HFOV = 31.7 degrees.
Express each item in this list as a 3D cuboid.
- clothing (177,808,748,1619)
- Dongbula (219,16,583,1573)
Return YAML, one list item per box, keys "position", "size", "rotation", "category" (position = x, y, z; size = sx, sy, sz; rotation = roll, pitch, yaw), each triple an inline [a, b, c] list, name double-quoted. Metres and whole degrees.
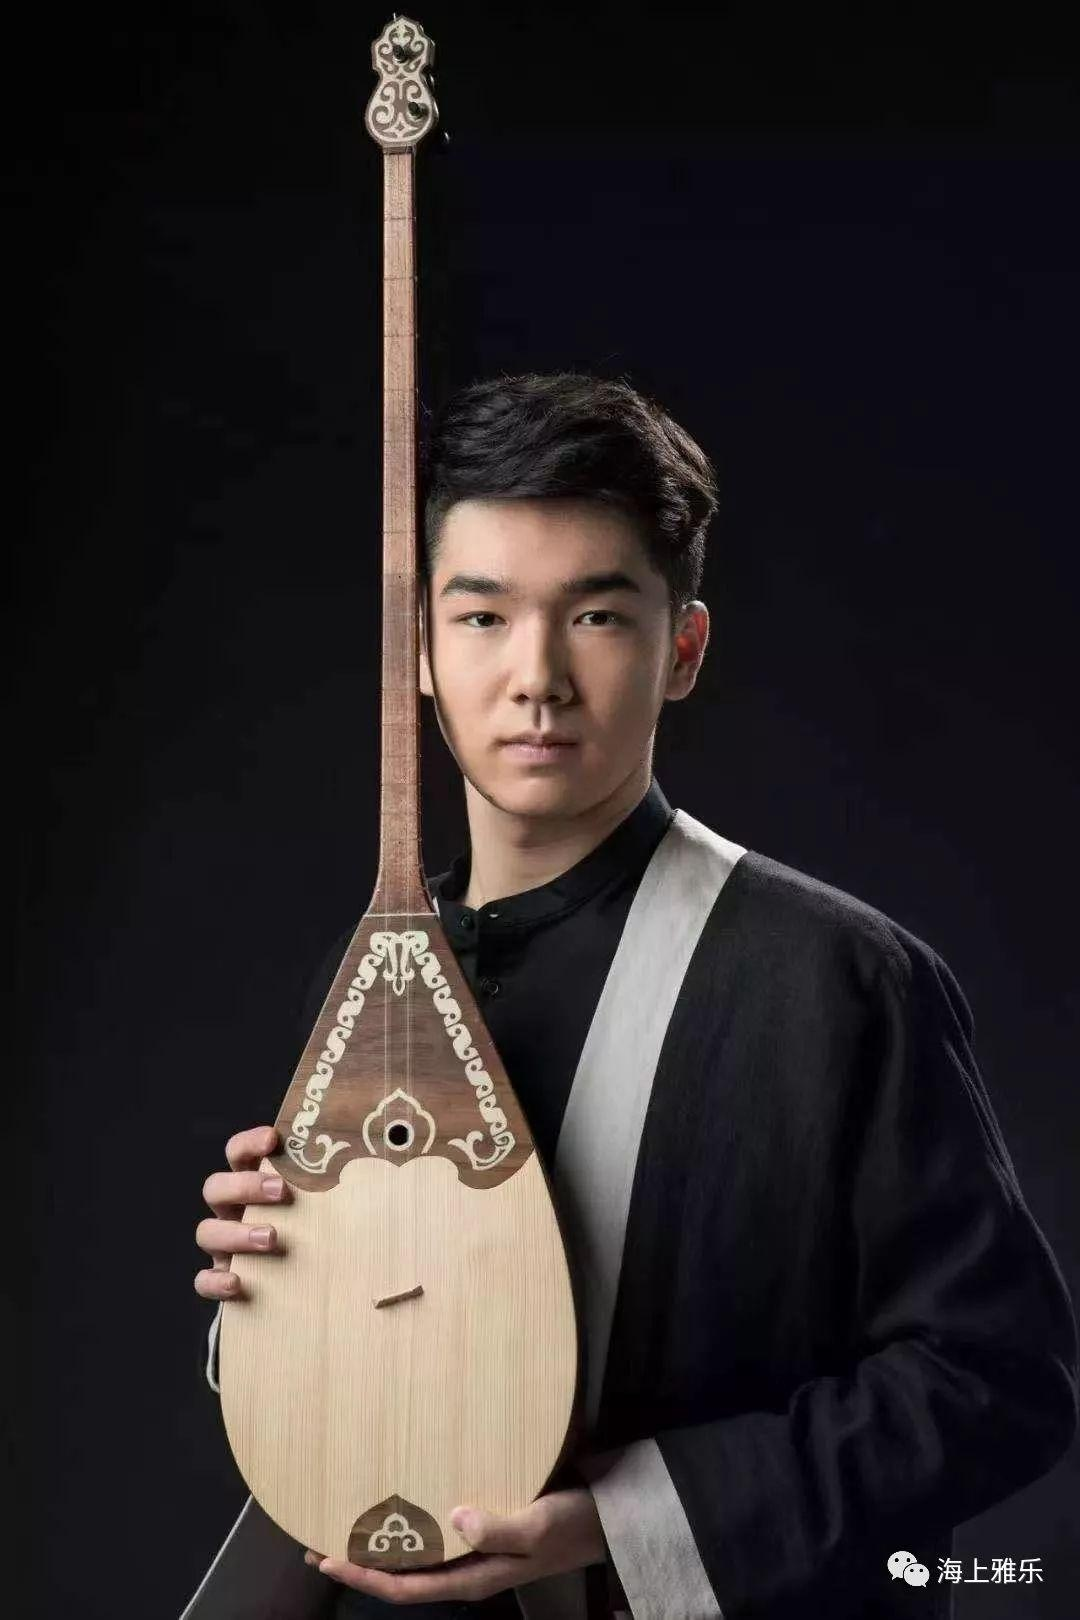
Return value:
- position: [0.051, 0.355, 1.449]
  size: [0.293, 0.708, 0.078]
  rotation: [11, 0, -10]
  category: "clothing"
- position: [-0.102, -0.039, 1.358]
  size: [0.253, 1.117, 0.110]
  rotation: [-1, -3, 5]
  category: "Dongbula"
